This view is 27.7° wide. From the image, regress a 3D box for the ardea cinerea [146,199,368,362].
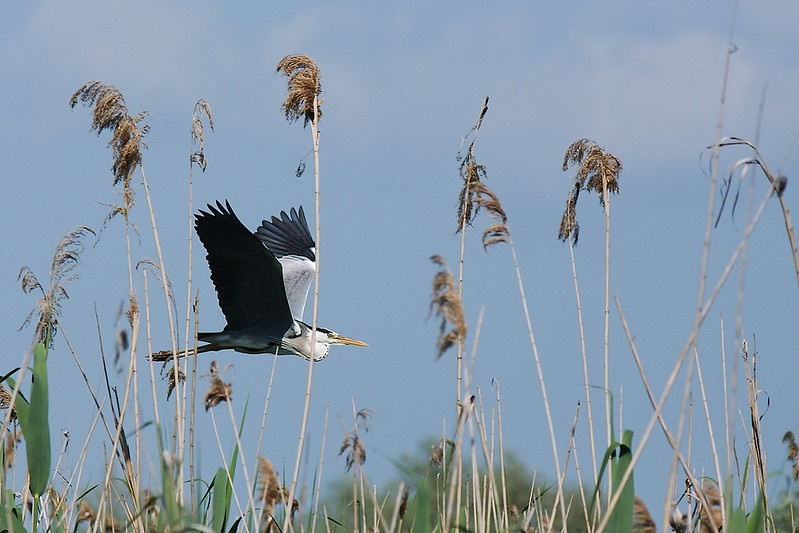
[{"bbox_3d":[-1.378,0.246,15.798,2.032,1.684,2.690,1,2,14],"label":"ardea cinerea"}]
